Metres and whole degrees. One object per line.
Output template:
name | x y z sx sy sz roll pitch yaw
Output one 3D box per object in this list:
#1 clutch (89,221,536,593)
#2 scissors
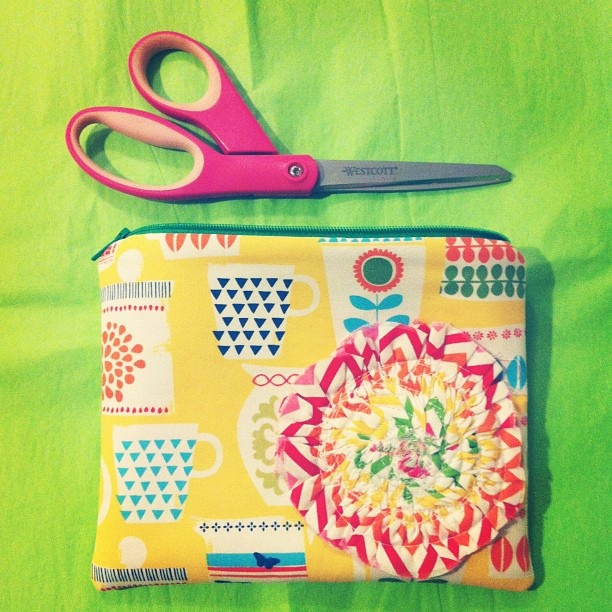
clutch | 0.003 0.105 0.954 0.474 0.127 0.372 -1 73 4
scissors | -0.018 -0.224 1.039 0.514 0.105 0.190 -4 72 3
